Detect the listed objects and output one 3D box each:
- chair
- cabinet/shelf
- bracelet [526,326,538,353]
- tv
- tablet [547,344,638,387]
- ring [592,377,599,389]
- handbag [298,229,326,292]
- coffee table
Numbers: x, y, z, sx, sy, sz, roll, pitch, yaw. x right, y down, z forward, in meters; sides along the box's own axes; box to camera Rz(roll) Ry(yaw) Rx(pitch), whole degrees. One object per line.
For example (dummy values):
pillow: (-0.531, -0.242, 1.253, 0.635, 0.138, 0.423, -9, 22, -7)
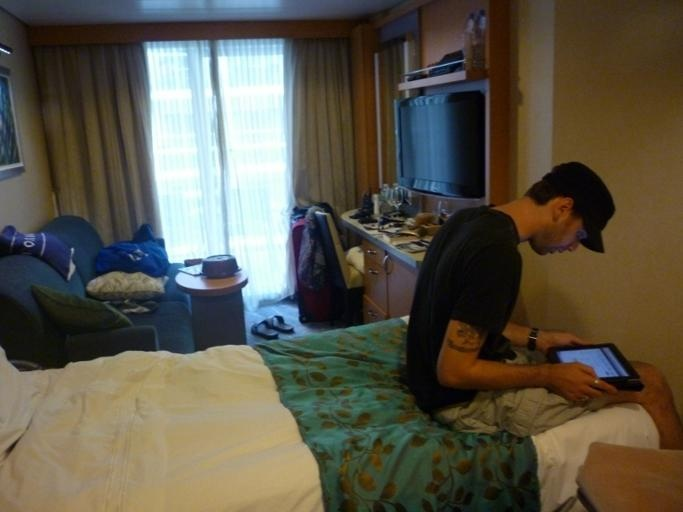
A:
chair: (-0.127, 0.117, 4.617, 0.696, 1.210, 0.688, -7, 21, -17)
cabinet/shelf: (0.339, 0.156, 3.629, 0.215, 0.484, 0.519, -2, 14, -10)
bracelet: (0.826, 0.362, 2.326, 0.055, 0.086, 0.086, -1, -4, 7)
tv: (0.685, -0.785, 3.720, 0.092, 0.535, 0.903, -7, 11, -18)
tablet: (1.014, 0.413, 2.121, 0.303, 0.319, 0.059, 8, 51, 32)
ring: (0.922, 0.458, 1.961, 0.010, 0.029, 0.029, 12, 47, -12)
handbag: (-0.260, 0.018, 4.564, 0.264, 0.517, 0.143, 0, 14, 11)
coffee table: (-0.849, 0.365, 3.997, 0.515, 0.650, 0.519, 7, 25, 16)
